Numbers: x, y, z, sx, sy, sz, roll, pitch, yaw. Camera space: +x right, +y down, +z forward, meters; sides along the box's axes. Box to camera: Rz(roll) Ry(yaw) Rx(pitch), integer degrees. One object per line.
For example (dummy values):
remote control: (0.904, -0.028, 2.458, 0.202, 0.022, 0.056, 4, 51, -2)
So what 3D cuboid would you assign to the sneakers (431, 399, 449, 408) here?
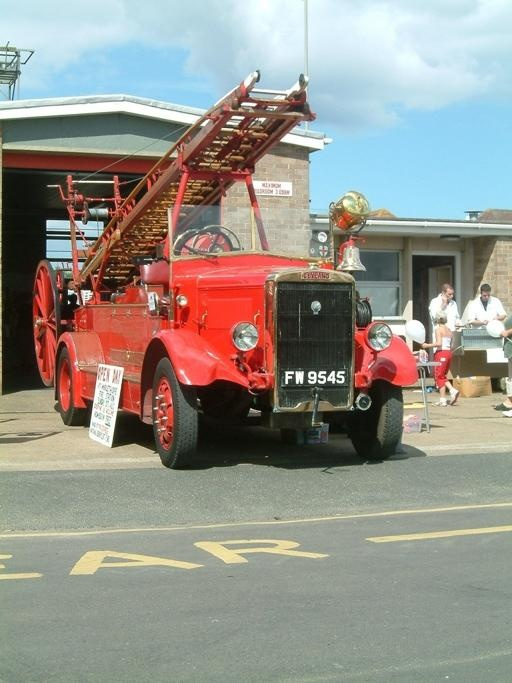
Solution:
sneakers: (2.947, 0.981, 13.287, 0.318, 0.204, 0.116, 4, 3, 43)

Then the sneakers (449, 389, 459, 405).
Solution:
sneakers: (3.193, 0.887, 13.243, 0.093, 0.272, 0.117, -17, 47, -25)

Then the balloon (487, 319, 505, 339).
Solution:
balloon: (3.499, -0.198, 11.951, 0.236, 0.206, 0.289, -1, 4, 6)

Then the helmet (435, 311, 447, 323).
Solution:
helmet: (2.996, -0.401, 13.322, 0.178, 0.144, 0.136, -4, 8, -16)

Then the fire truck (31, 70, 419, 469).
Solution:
fire truck: (-1.083, -0.635, 10.049, 2.363, 3.551, 7.002, -4, 4, -28)
